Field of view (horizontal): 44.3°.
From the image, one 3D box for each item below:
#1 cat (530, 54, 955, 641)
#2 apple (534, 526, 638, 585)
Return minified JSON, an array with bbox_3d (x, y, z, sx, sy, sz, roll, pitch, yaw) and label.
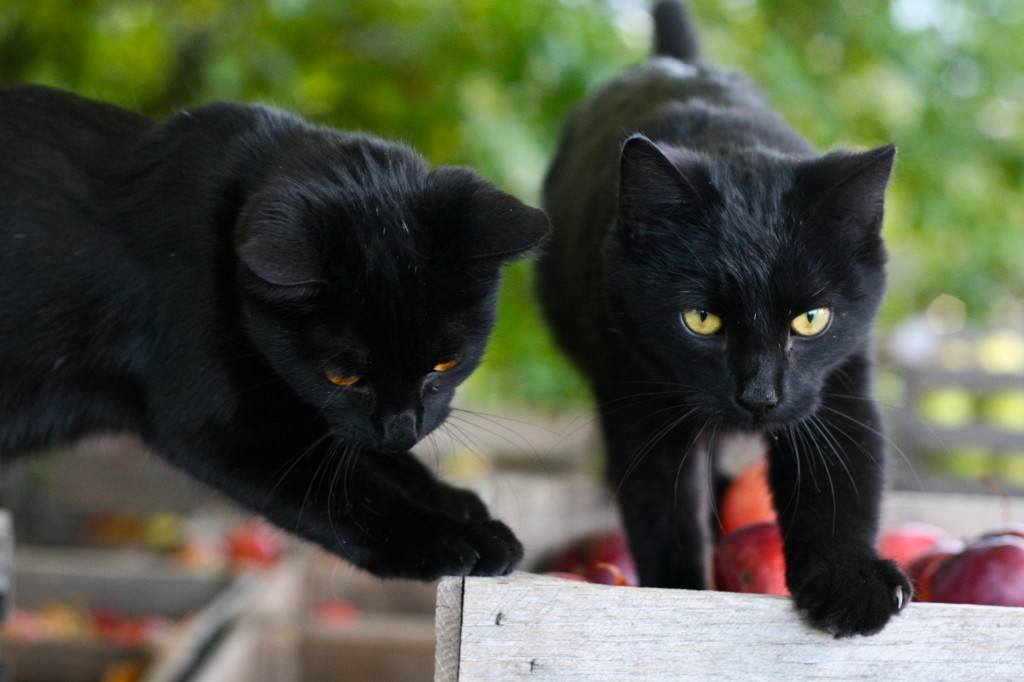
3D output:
[{"bbox_3d":[0.458,-0.035,2.976,0.569,1.302,1.166,-2,8,-33],"label":"cat"},{"bbox_3d":[0.194,0.568,3.265,0.165,0.171,0.154,-16,-39,40],"label":"apple"}]
